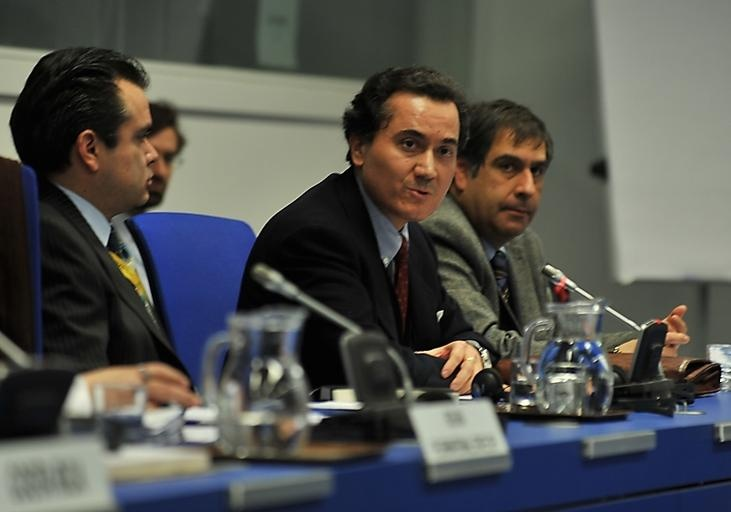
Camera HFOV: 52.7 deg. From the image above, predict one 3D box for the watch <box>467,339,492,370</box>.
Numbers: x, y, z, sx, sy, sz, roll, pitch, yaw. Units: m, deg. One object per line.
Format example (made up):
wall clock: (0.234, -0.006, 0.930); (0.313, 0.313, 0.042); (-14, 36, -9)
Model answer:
watch: (0.311, 0.260, 1.977); (0.027, 0.059, 0.071); (-23, 15, -2)

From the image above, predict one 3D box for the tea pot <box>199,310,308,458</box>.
tea pot: (-0.139, 0.162, 0.979); (0.188, 0.230, 0.161); (0, -5, -11)

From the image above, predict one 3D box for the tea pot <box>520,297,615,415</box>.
tea pot: (0.356, 0.190, 1.390); (0.207, 0.213, 0.143); (-1, -4, 16)

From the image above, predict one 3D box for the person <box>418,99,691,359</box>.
person: (0.512, -0.133, 3.027); (0.773, 1.033, 1.077); (0, -2, -41)

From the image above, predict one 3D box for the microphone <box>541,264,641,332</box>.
microphone: (0.913, 0.160, 2.885); (0.523, 0.064, 0.136); (33, 31, 10)
